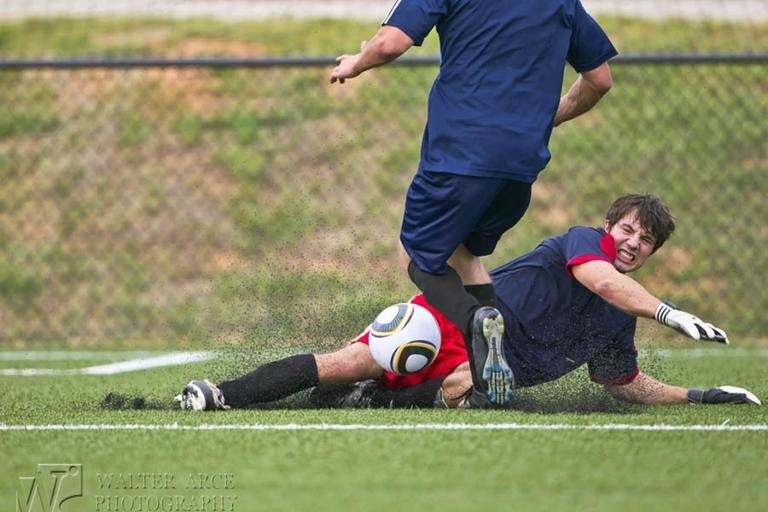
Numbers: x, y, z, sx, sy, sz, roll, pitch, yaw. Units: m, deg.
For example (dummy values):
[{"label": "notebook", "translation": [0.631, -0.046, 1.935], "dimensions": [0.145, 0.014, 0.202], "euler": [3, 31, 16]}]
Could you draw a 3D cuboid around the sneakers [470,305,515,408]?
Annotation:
[{"label": "sneakers", "translation": [0.701, 0.670, 8.517], "dimensions": [0.255, 0.678, 0.278], "euler": [-5, -1, 1]}]

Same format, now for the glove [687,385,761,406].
[{"label": "glove", "translation": [2.383, 0.994, 8.977], "dimensions": [0.334, 0.096, 0.207], "euler": [7, -4, -8]}]

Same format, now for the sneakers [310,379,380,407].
[{"label": "sneakers", "translation": [-0.285, 0.988, 8.894], "dimensions": [0.342, 0.139, 0.203], "euler": [-6, 2, 7]}]

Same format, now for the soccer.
[{"label": "soccer", "translation": [0.109, 0.582, 8.985], "dimensions": [0.451, 0.465, 0.475], "euler": [-32, 2, -10]}]
